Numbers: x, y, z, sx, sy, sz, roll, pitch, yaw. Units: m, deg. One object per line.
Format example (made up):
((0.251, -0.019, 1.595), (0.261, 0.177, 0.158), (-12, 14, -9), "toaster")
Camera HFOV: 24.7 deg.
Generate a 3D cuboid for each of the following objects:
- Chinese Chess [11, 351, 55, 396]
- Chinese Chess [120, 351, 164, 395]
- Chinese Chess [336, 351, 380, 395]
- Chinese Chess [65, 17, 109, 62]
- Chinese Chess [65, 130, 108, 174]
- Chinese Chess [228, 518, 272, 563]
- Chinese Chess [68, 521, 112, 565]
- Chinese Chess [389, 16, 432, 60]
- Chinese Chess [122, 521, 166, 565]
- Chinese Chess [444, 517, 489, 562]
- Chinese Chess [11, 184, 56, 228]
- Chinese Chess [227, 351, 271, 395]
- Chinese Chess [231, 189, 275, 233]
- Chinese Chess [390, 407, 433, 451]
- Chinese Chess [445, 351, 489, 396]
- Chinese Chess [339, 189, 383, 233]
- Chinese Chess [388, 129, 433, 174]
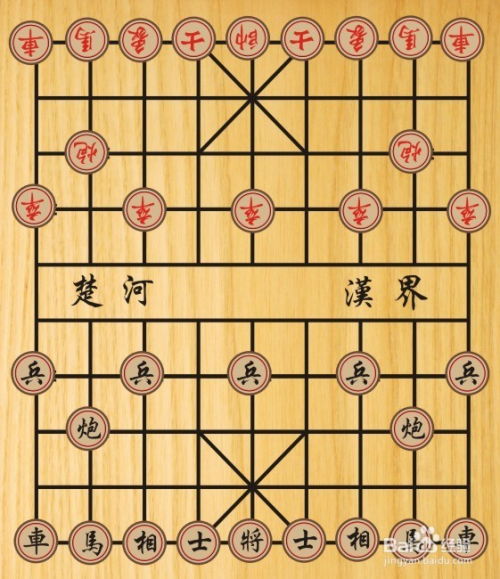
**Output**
((-0.514, 0.196, 2.686), (0.094, 0.022, 0.099), (4, -86, -1), "Chinese Chess")
((-0.256, 0.197, 2.685), (0.100, 0.019, 0.096), (0, -79, 1), "Chinese Chess")
((0.253, 0.197, 2.687), (0.099, 0.019, 0.095), (3, -79, 0), "Chinese Chess")
((-0.383, -0.589, 2.695), (0.098, 0.014, 0.103), (1, -88, 6), "Chinese Chess")
((-0.387, -0.324, 2.690), (0.102, 0.018, 0.096), (0, -79, 1), "Chinese Chess")
((-0.002, 0.591, 2.687), (0.099, 0.023, 0.092), (3, -79, 0), "Chinese Chess")
((-0.377, 0.597, 2.689), (0.099, 0.021, 0.096), (-2, -79, 1), "Chinese Chess")
((0.378, -0.593, 2.693), (0.100, 0.014, 0.109), (0, -88, 0), "Chinese Chess")
((-0.250, 0.596, 2.686), (0.101, 0.022, 0.094), (1, -79, 1), "Chinese Chess")
((0.507, 0.589, 2.691), (0.100, 0.022, 0.097), (0, -79, 1), "Chinese Chess")
((-0.516, -0.195, 2.702), (0.099, 0.100, 0.104), (-2, -105, -9), "Chinese Chess")
((-0.002, 0.197, 2.685), (0.100, 0.020, 0.095), (0, -79, 1), "Chinese Chess")
((0.005, -0.182, 2.686), (0.094, 0.013, 0.100), (2, -87, 0), "Chinese Chess")
((0.383, 0.325, 2.698), (0.102, 0.103, 0.107), (-1, -79, -4), "Chinese Chess")
((0.509, 0.197, 2.691), (0.095, 0.021, 0.100), (2, -88, 3), "Chinese Chess")
((0.259, -0.184, 2.689), (0.099, 0.018, 0.096), (1, -79, 1), "Chinese Chess")
((0.380, -0.325, 2.697), (0.116, 0.119, 0.102), (2, -96, 4), "Chinese Chess")
